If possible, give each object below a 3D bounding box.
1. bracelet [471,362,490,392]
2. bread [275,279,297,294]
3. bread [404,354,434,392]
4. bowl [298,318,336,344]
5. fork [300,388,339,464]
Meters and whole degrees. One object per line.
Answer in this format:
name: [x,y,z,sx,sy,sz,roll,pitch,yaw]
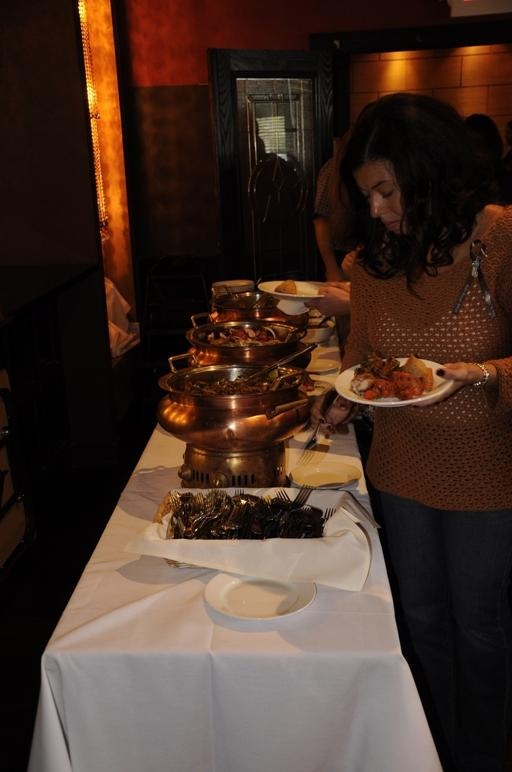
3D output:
bracelet: [0.458,-0.012,1.147,0.016,0.046,0.039,2,33,-4]
bread: [0.116,-0.363,2.105,0.063,0.021,0.076,3,25,22]
bread: [0.326,-0.026,1.097,0.059,0.058,0.073,0,13,5]
bowl: [0.308,-0.270,2.697,0.210,0.101,0.219,-4,22,1]
fork: [0.171,0.113,1.488,0.022,0.204,0.024,22,9,5]
